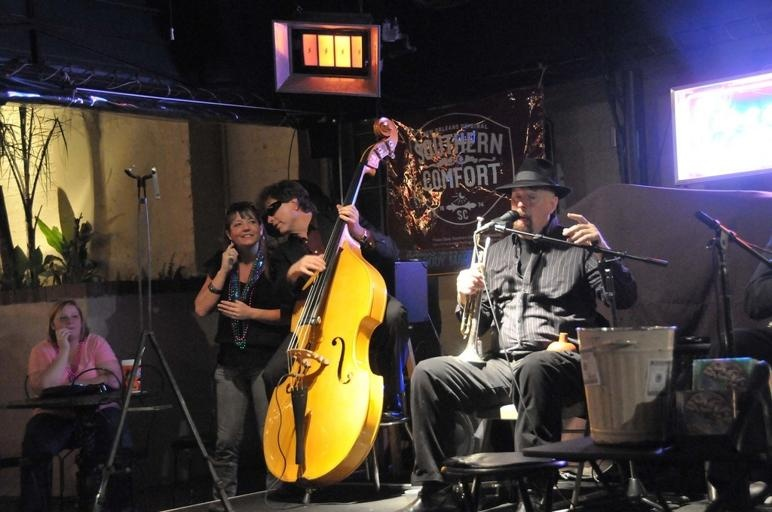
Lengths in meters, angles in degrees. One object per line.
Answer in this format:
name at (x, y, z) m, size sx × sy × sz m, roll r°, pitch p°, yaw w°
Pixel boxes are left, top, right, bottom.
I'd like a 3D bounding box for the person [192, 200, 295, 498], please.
person at (-1.237, 0.889, 6.441) m, size 1.034 × 2.696 × 0.904 m, roll -1°, pitch -9°, yaw 3°
